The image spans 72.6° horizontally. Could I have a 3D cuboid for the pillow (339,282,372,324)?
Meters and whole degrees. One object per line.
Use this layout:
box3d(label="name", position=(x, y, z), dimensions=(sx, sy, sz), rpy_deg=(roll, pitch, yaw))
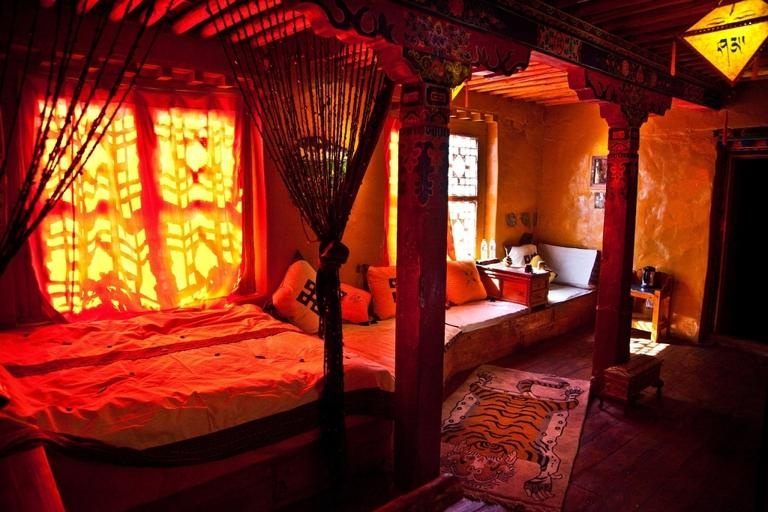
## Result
box3d(label="pillow", position=(-0.309, 0.501, 5.477), dimensions=(0.420, 0.379, 0.120), rpy_deg=(24, -35, -25))

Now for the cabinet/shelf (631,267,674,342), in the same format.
box3d(label="cabinet/shelf", position=(3.546, 0.646, 6.994), dimensions=(0.490, 0.862, 0.557), rpy_deg=(4, 10, 34))

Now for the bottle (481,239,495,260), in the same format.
box3d(label="bottle", position=(1.479, -0.096, 7.461), dimensions=(0.284, 0.378, 0.112), rpy_deg=(-3, 7, -35))

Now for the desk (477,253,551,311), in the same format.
box3d(label="desk", position=(1.670, 0.168, 6.595), dimensions=(0.513, 0.569, 0.868), rpy_deg=(-7, 13, -37))
